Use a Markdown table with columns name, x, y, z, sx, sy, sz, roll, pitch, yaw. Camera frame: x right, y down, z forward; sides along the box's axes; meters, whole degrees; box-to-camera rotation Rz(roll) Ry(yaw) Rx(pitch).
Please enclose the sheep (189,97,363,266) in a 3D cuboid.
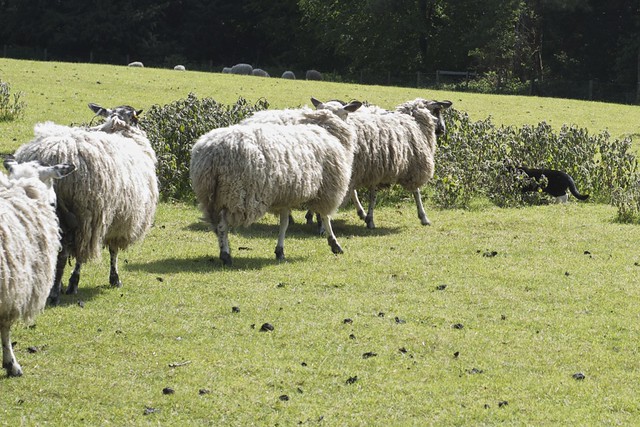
| name | x | y | z | sx | sy | sz | roll | pitch | yaw |
| --- | --- | --- | --- | --- | --- | --- | --- | --- | --- |
| sheep | -1.083 | -0.597 | 20.911 | 3.625 | 3.433 | 1.470 | -4 | 10 | -34 |
